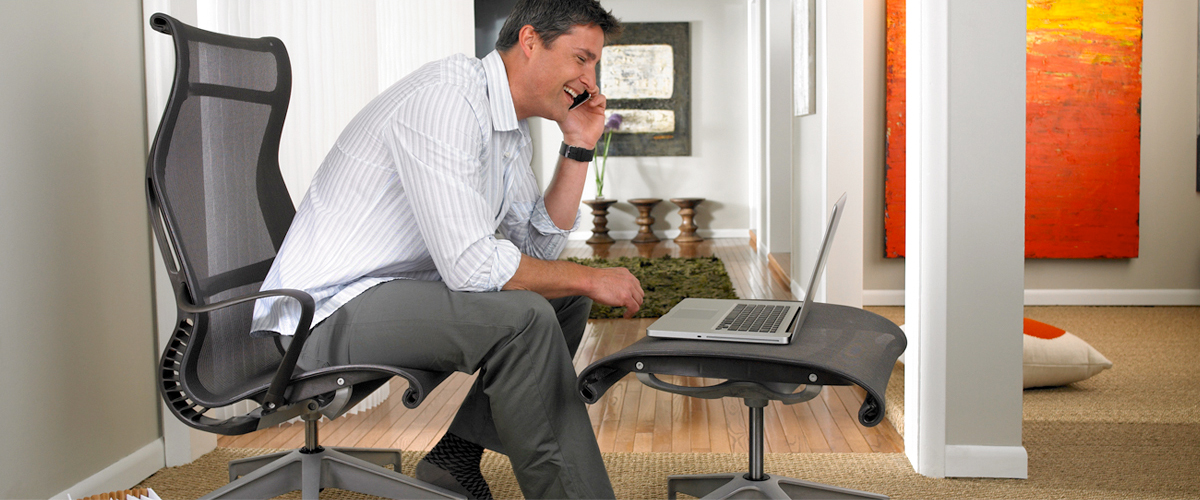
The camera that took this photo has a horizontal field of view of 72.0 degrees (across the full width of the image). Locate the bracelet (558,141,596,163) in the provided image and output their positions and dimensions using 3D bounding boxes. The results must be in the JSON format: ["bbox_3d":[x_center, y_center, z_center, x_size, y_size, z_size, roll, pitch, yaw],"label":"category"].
[{"bbox_3d":[-0.130,-0.564,4.906,0.161,0.130,0.138,14,0,4],"label":"bracelet"}]
